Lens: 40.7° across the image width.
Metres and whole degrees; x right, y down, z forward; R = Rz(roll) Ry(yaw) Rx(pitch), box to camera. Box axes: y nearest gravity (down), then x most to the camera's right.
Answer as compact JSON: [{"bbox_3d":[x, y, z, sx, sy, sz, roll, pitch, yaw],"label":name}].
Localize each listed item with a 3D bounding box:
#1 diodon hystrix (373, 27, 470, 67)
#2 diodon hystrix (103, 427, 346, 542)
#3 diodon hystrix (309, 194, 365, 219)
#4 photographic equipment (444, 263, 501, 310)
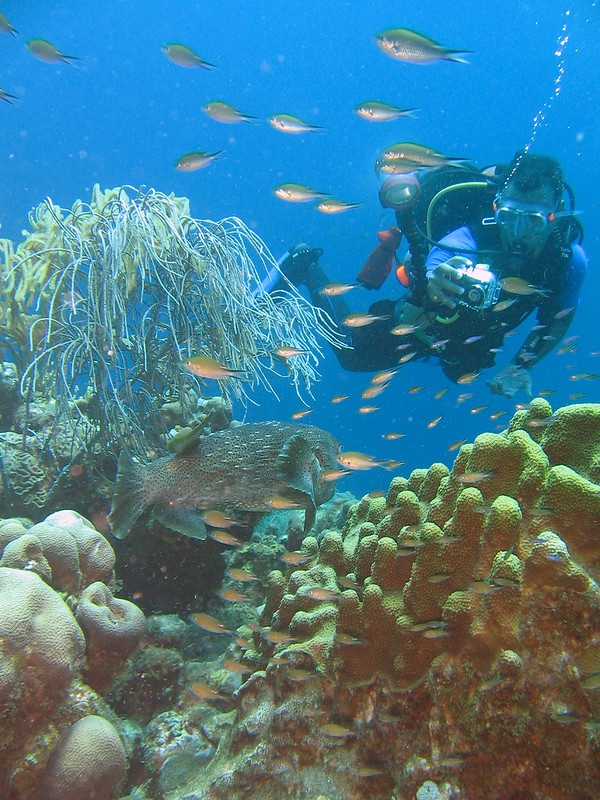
[{"bbox_3d":[0.855,-2.457,5.640,0.705,0.278,0.270,27,46,32],"label":"diodon hystrix"},{"bbox_3d":[-0.515,0.523,5.612,1.419,0.702,0.754,-6,12,-27],"label":"diodon hystrix"},{"bbox_3d":[0.268,-1.619,6.610,0.507,0.225,0.123,-1,71,10],"label":"diodon hystrix"},{"bbox_3d":[1.680,-1.110,7.902,0.406,0.335,0.519,6,22,21],"label":"photographic equipment"}]
